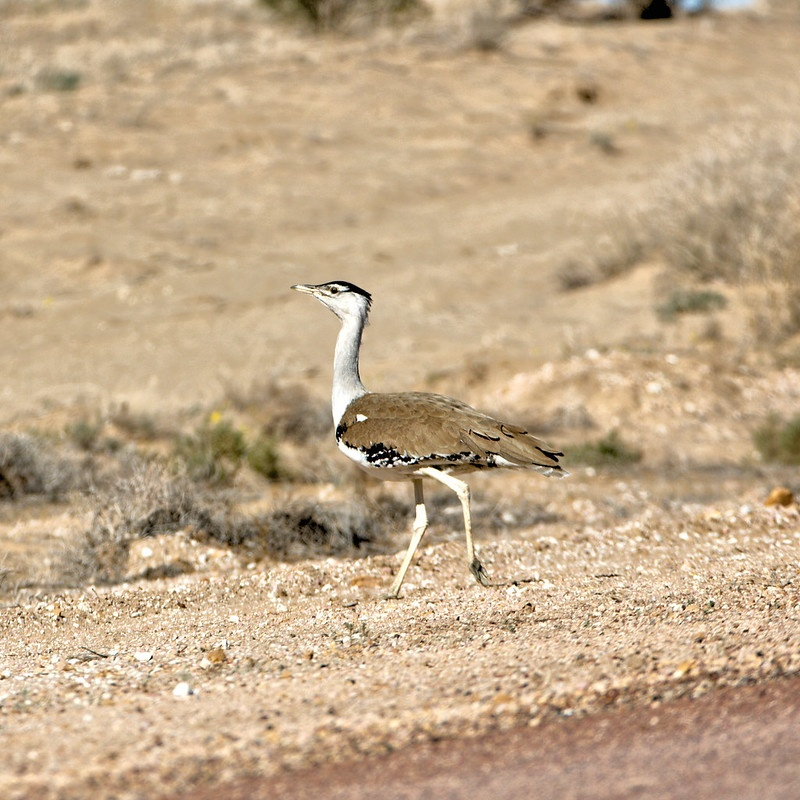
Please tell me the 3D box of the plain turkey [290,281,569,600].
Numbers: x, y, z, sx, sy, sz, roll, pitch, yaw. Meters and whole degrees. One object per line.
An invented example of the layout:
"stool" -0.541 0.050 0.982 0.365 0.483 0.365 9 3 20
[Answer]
"plain turkey" 0.113 0.373 10.023 1.000 1.885 1.620 -20 37 -30
